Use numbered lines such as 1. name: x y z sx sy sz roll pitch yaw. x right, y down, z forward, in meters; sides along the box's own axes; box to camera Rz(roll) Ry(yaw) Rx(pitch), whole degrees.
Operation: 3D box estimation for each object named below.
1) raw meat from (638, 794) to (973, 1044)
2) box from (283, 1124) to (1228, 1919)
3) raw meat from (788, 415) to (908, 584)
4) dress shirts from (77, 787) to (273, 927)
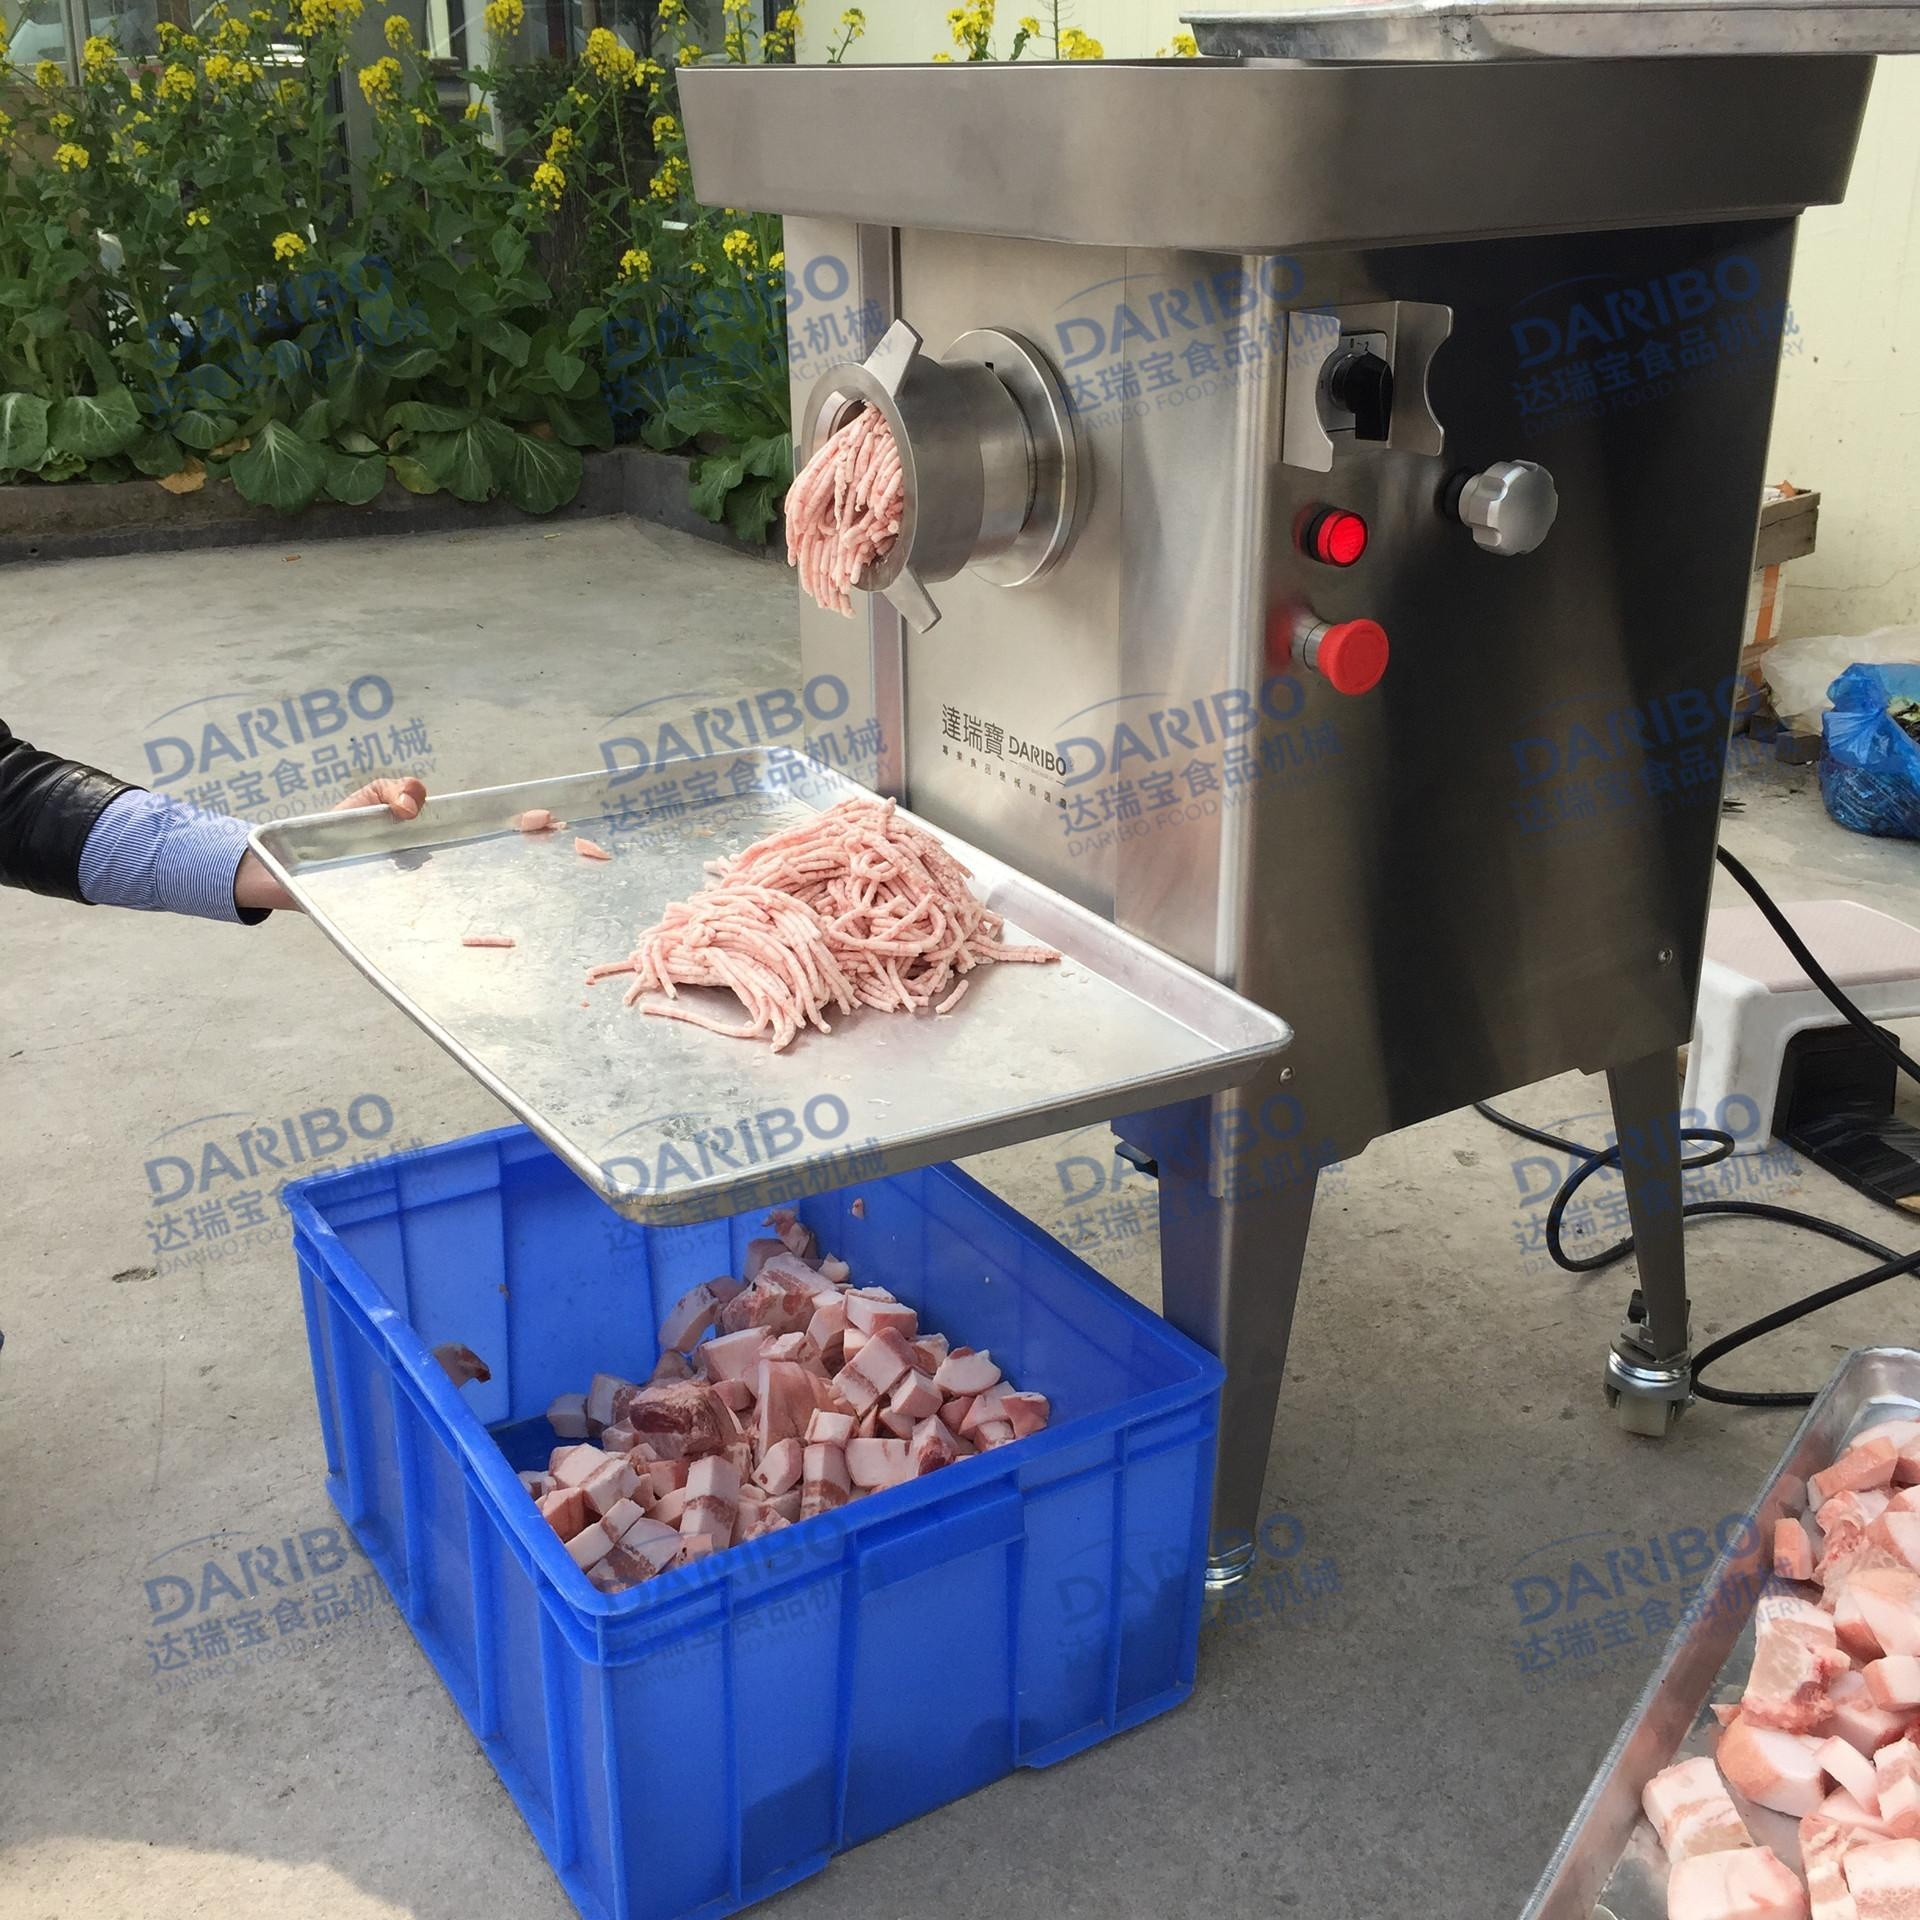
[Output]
1. raw meat: -0.102 -0.031 1.156 0.182 0.054 0.177 -29 48 -33
2. box: -0.204 0.370 1.311 0.563 0.251 0.643 -14 30 -30
3. raw meat: -0.076 -0.300 1.172 0.042 0.113 0.096 7 13 -40
4. dress shirts: -0.575 -0.074 1.348 0.145 0.086 0.054 8 -20 3
